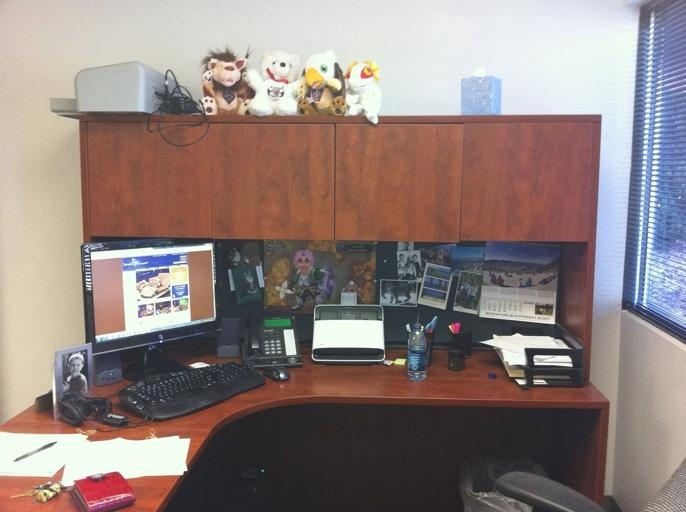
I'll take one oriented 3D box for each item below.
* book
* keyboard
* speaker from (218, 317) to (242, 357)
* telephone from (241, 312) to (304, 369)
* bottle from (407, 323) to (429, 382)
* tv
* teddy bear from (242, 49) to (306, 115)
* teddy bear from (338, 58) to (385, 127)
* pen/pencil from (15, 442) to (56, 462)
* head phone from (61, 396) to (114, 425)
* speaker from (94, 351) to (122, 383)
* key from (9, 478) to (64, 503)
[{"bbox_3d":[0.831,0.444,2.628,0.230,0.081,0.223,2,11,3],"label":"book"},{"bbox_3d":[-0.632,0.562,2.440,0.564,0.084,0.264,-11,15,-35],"label":"keyboard"},{"bbox_3d":[-0.555,0.392,2.766,0.116,0.195,0.051,-6,13,-16],"label":"speaker"},{"bbox_3d":[-0.347,0.404,2.769,0.258,0.115,0.343,-1,19,-14],"label":"telephone"},{"bbox_3d":[0.333,0.431,2.608,0.089,0.226,0.139,-1,12,6],"label":"bottle"},{"bbox_3d":[-0.871,0.216,2.561,0.597,0.581,0.063,-3,0,-34],"label":"tv"},{"bbox_3d":[-0.311,-0.739,2.718,0.365,0.372,0.267,2,7,-7],"label":"teddy bear"},{"bbox_3d":[0.085,-0.731,2.590,0.163,0.274,0.132,-2,12,0],"label":"teddy bear"},{"bbox_3d":[-1.126,0.716,2.098,0.018,0.005,0.125,27,27,33],"label":"pen/pencil"},{"bbox_3d":[-1.024,0.603,2.283,0.111,0.079,0.152,5,-2,26],"label":"head phone"},{"bbox_3d":[-1.034,0.482,2.505,0.074,0.147,0.148,-3,-4,39],"label":"speaker"},{"bbox_3d":[-1.022,0.785,1.943,0.109,0.031,0.067,-2,12,-18],"label":"key"}]
